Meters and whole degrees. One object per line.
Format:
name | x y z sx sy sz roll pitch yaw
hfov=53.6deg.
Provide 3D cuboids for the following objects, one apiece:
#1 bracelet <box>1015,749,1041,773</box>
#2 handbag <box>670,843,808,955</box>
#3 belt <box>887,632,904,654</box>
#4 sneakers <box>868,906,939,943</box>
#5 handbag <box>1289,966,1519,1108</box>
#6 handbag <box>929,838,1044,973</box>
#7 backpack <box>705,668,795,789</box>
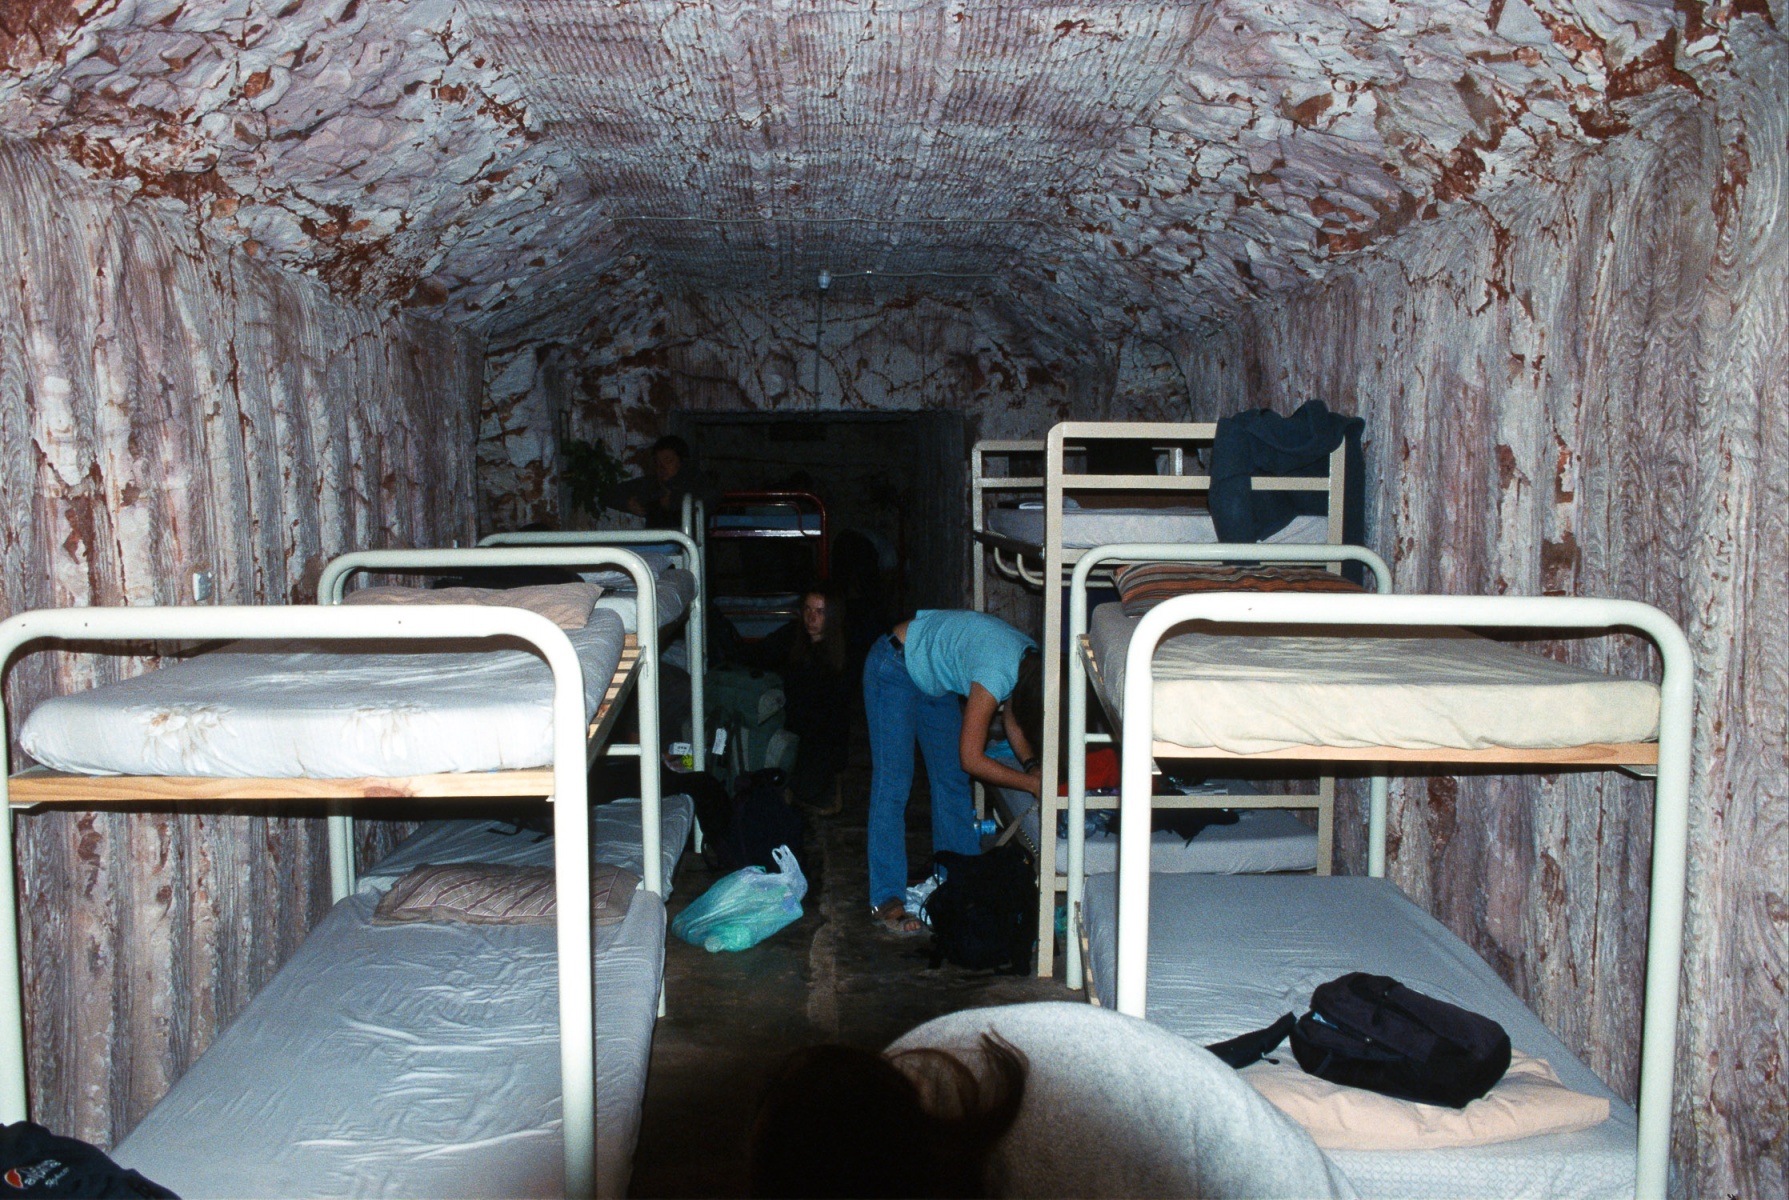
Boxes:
bracelet | 0.468 0.577 6.337 0.076 0.024 0.073 17 14 -48
handbag | -0.553 1.044 6.194 0.511 0.362 0.319 -3 -14 14
belt | 0.009 0.144 6.113 0.040 0.076 0.154 0 -1 -13
sneakers | 0.026 1.133 6.161 0.241 0.092 0.084 7 14 4
handbag | 1.213 1.056 4.229 0.308 0.110 0.361 -12 16 -43
handbag | 0.297 1.004 5.814 0.332 0.388 0.161 3 -14 9
backpack | -0.617 0.521 7.489 0.387 0.642 0.494 -3 1 4
